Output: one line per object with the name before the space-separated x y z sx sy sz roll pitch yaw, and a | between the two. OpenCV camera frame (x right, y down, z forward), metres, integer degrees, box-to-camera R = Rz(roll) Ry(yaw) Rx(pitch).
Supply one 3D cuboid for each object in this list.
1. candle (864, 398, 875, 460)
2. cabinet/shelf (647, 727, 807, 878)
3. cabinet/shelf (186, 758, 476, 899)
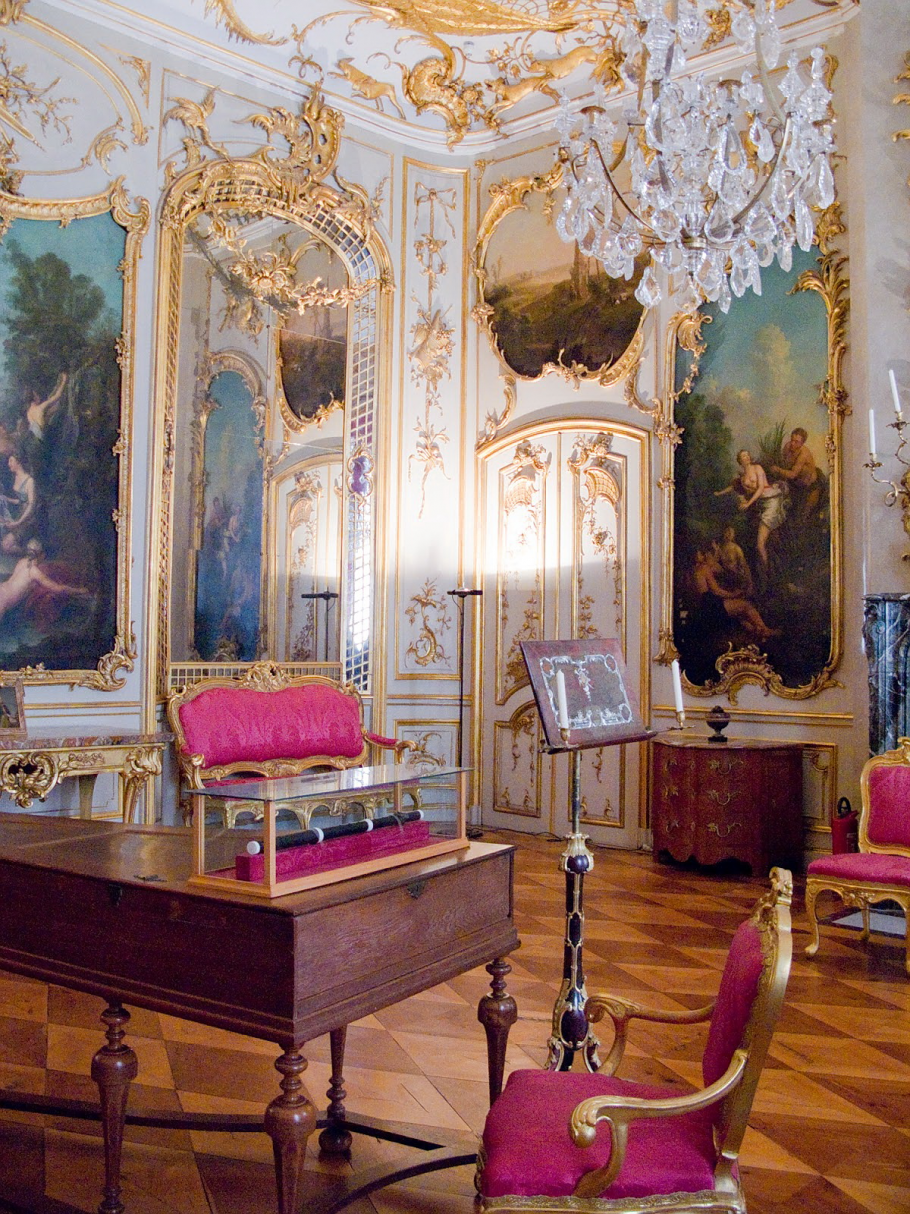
candle | 2.023 -0.850 5.567 0.045 0.284 0.237 -1 -2 20
cabinet/shelf | 1.488 1.003 6.423 0.684 0.824 1.022 8 -9 -44
cabinet/shelf | -0.247 0.427 2.291 0.266 0.192 0.675 -1 -2 29
